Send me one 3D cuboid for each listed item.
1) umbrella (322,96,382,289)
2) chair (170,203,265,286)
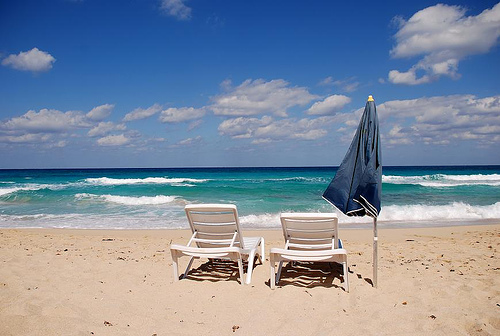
[{"bbox_3d":[2.161,0.549,7.065,1.092,3.926,1.028,5,14,21],"label":"umbrella"},{"bbox_3d":[-0.613,1.724,8.410,1.638,1.617,2.949,-1,-6,15],"label":"chair"}]
